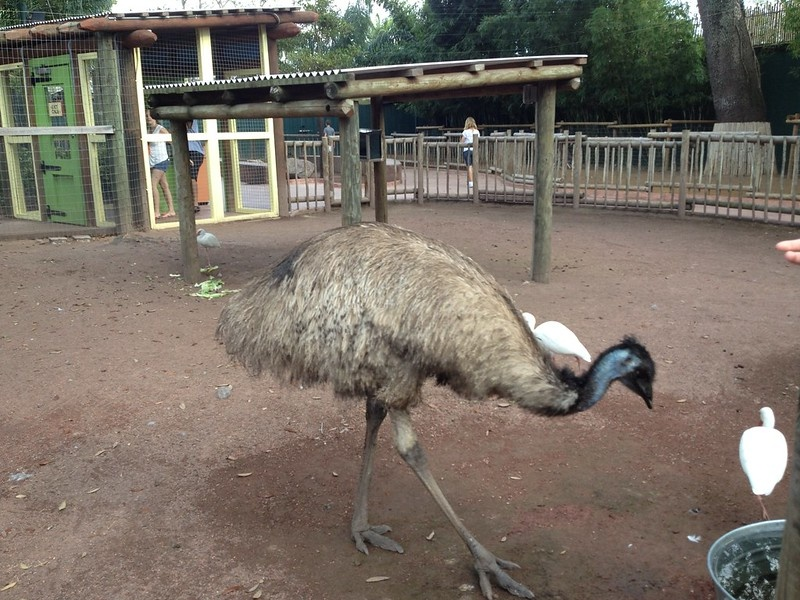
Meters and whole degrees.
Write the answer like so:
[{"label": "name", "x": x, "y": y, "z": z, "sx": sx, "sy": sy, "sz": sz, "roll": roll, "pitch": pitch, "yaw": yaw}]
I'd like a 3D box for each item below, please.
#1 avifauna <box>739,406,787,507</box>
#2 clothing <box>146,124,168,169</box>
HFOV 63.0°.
[{"label": "avifauna", "x": 2.312, "y": 0.966, "z": 4.156, "sx": 0.305, "sy": 0.247, "sz": 0.614, "roll": 6, "pitch": 61, "yaw": 24}, {"label": "clothing", "x": -4.862, "y": -3.060, "z": 13.052, "sx": 0.374, "sy": 0.840, "sz": 0.631, "roll": -9, "pitch": 14, "yaw": -19}]
